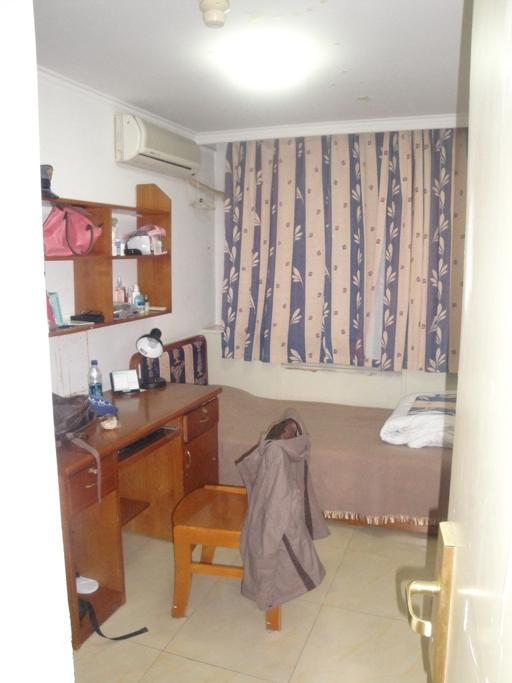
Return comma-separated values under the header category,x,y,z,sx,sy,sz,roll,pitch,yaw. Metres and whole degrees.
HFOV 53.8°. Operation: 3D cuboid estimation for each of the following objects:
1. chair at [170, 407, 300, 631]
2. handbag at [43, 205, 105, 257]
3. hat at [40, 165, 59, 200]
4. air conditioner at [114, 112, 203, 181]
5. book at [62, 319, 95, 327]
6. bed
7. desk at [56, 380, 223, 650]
category,x,y,z,sx,sy,sz,roll,pitch,yaw
chair,-0.053,0.890,2.492,0.584,0.722,0.838,2,20,4
handbag,-0.915,-0.547,2.541,0.118,0.272,0.431,1,8,11
hat,-0.962,-0.742,2.351,0.060,0.184,0.276,-3,8,-21
air conditioner,-0.591,-1.270,3.323,0.154,0.332,0.647,17,16,26
book,-0.919,-0.091,2.638,0.149,0.020,0.193,-3,8,-19
bed,0.361,0.611,3.367,1.525,0.967,1.074,7,12,20
desk,-0.532,0.818,2.307,0.272,0.634,0.879,2,11,12
